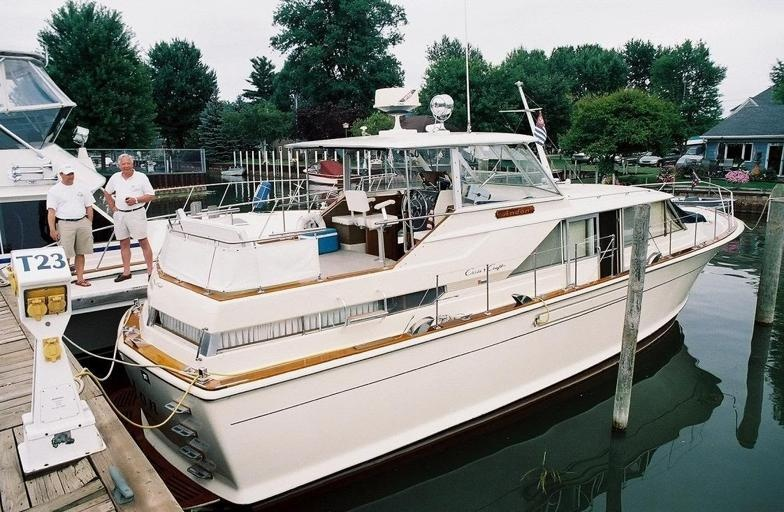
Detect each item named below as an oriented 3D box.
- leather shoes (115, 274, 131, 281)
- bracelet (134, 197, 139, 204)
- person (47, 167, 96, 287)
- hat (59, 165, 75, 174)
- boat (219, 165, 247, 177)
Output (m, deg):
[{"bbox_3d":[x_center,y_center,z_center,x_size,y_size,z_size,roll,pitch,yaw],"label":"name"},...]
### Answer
[{"bbox_3d":[-4.513,0.368,9.147,0.200,0.075,0.105,-8,15,-36],"label":"leather shoes"},{"bbox_3d":[-3.971,-0.858,8.498,0.025,0.064,0.057,-19,-26,38],"label":"bracelet"},{"bbox_3d":[-4.964,-0.426,8.531,0.604,1.924,0.797,-7,13,-28],"label":"person"},{"bbox_3d":[-4.878,-1.284,8.202,0.163,0.135,0.256,-9,14,-33],"label":"hat"},{"bbox_3d":[-11.785,-6.249,41.343,0.961,1.053,3.213,-15,15,-40],"label":"boat"}]
